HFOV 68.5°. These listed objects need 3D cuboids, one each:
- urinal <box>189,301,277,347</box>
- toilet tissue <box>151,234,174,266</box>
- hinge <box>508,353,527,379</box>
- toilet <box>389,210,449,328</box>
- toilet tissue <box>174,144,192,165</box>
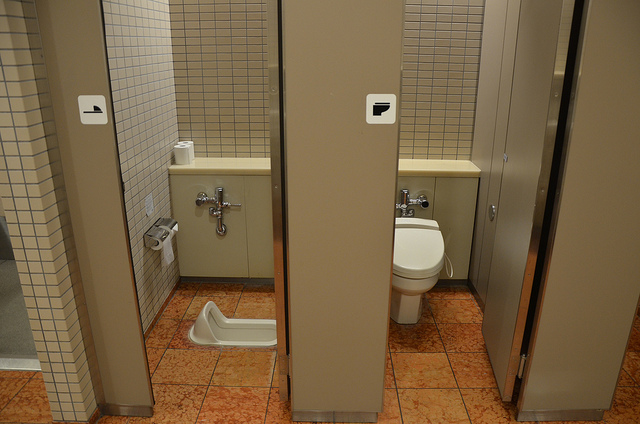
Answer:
[{"bbox_3d":[-0.647,0.824,3.489,0.666,0.246,0.276,1,20,0],"label":"urinal"},{"bbox_3d":[-1.138,0.282,3.428,0.086,0.257,0.207,7,20,17],"label":"toilet tissue"},{"bbox_3d":[1.209,0.942,2.842,0.099,0.154,0.053,-3,20,-10],"label":"hinge"},{"bbox_3d":[0.697,0.382,3.727,0.490,0.671,0.930,1,36,5],"label":"toilet"},{"bbox_3d":[-1.118,-0.464,3.813,0.111,0.128,0.167,0,9,-4],"label":"toilet tissue"}]
